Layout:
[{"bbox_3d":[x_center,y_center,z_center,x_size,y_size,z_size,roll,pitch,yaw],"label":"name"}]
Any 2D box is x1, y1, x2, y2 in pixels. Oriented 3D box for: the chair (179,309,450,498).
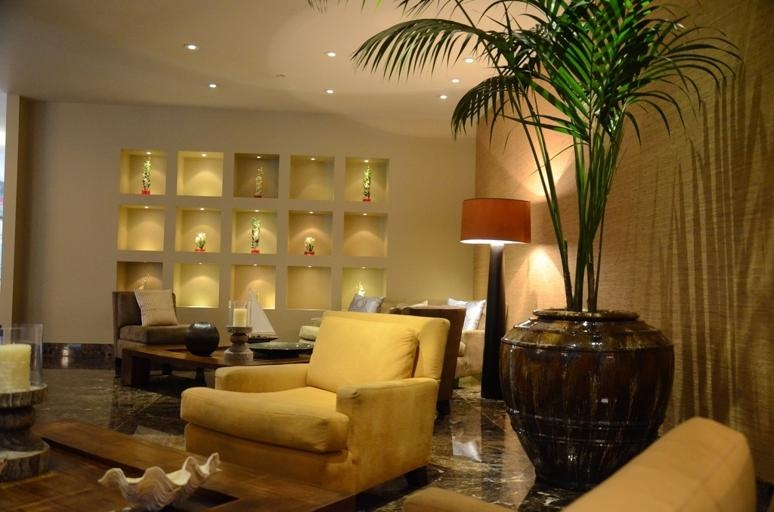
[{"bbox_3d":[-0.359,0.850,3.006,1.171,0.926,1.205,-4,-8,40],"label":"chair"}]
